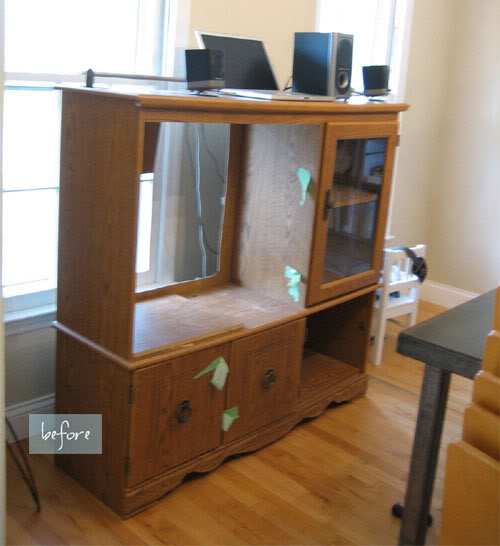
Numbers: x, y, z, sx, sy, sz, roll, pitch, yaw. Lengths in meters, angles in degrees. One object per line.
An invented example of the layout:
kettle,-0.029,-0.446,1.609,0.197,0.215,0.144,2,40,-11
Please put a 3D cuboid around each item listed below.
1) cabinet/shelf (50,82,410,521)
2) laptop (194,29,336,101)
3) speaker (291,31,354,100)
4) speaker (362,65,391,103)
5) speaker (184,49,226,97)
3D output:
cabinet/shelf,-0.037,0.013,1.799,1.122,1.222,0.430,-11,24,-40
laptop,0.067,-0.741,1.814,0.395,0.267,0.376,18,25,37
speaker,0.271,-0.790,1.908,0.194,0.225,0.124,20,28,36
speaker,0.505,-0.788,2.095,0.125,0.154,0.123,-23,34,-34
speaker,-0.130,-0.606,1.481,0.115,0.117,0.097,-5,35,-8
